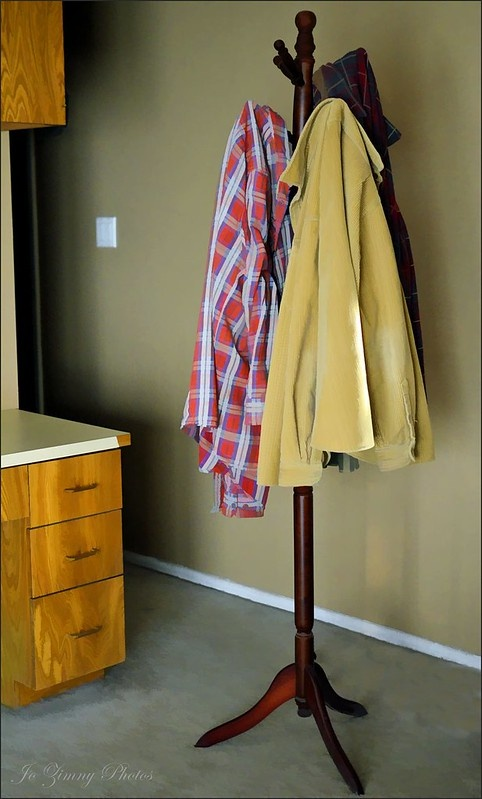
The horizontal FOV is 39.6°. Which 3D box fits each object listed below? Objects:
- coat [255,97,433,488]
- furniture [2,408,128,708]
[{"bbox_3d":[0.202,-0.187,1.323,0.269,0.778,0.294,4,6,42],"label":"coat"},{"bbox_3d":[-0.454,0.451,1.696,0.333,0.689,0.256,-1,5,-8],"label":"furniture"}]
